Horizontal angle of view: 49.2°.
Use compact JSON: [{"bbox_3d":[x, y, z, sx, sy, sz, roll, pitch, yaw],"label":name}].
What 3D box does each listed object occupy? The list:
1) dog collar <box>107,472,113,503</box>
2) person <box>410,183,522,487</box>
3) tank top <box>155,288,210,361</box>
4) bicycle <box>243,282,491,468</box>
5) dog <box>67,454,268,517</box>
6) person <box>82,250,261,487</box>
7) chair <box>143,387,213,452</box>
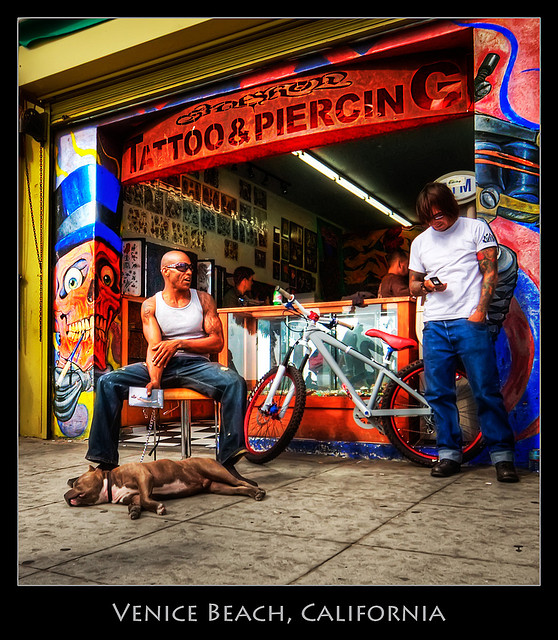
[{"bbox_3d":[-0.804,0.785,2.885,0.025,0.108,0.100,0,17,-6],"label":"dog collar"},{"bbox_3d":[1.036,0.042,3.498,0.657,1.668,0.341,-3,-4,32],"label":"person"},{"bbox_3d":[-0.556,0.029,3.433,0.262,0.400,0.212,-5,-4,-12],"label":"tank top"},{"bbox_3d":[0.494,0.424,4.105,1.798,1.153,0.687,-3,-22,21],"label":"bicycle"},{"bbox_3d":[-0.528,0.795,2.926,0.510,0.131,0.215,-2,21,-26],"label":"dog"},{"bbox_3d":[-0.552,0.270,3.529,0.882,1.274,0.995,0,-4,-3],"label":"person"},{"bbox_3d":[-0.662,0.664,4.021,0.275,0.434,0.434,20,-40,-28],"label":"chair"}]
